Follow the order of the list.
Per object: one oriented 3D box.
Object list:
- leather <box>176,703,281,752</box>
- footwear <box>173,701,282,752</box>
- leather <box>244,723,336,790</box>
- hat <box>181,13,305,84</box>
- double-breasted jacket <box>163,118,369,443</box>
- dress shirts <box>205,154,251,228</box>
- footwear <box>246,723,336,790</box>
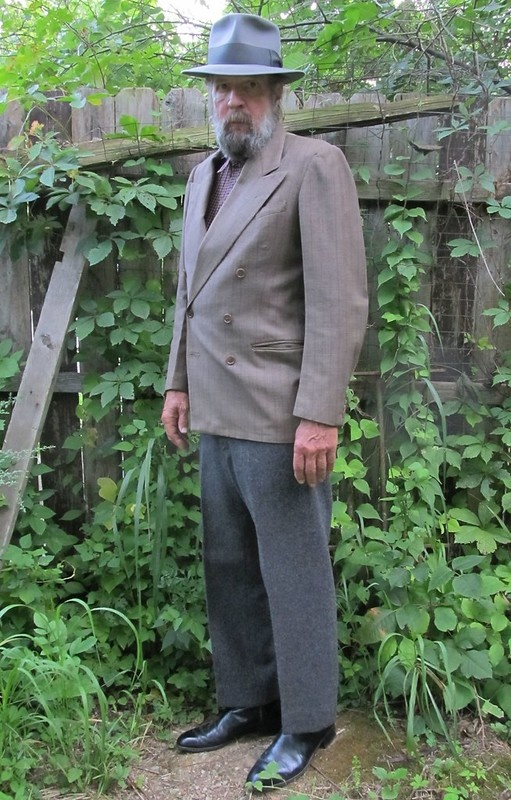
[{"bbox_3d":[-0.065,0.960,2.244,0.347,0.131,0.110,1,2,-21],"label":"leather"},{"bbox_3d":[-0.076,0.960,2.240,0.347,0.132,0.110,0,3,-22],"label":"footwear"},{"bbox_3d":[0.090,0.948,2.001,0.253,0.104,0.090,-7,7,-44],"label":"leather"},{"bbox_3d":[-0.034,-0.909,1.935,0.352,0.128,0.347,9,21,26],"label":"hat"},{"bbox_3d":[0.059,-0.291,1.887,0.249,0.786,0.491,-11,17,-44],"label":"double-breasted jacket"},{"bbox_3d":[-0.052,-0.583,2.063,0.114,0.193,0.051,-1,-26,43],"label":"dress shirts"},{"bbox_3d":[0.086,0.952,2.017,0.263,0.108,0.088,-7,7,-44],"label":"footwear"}]
